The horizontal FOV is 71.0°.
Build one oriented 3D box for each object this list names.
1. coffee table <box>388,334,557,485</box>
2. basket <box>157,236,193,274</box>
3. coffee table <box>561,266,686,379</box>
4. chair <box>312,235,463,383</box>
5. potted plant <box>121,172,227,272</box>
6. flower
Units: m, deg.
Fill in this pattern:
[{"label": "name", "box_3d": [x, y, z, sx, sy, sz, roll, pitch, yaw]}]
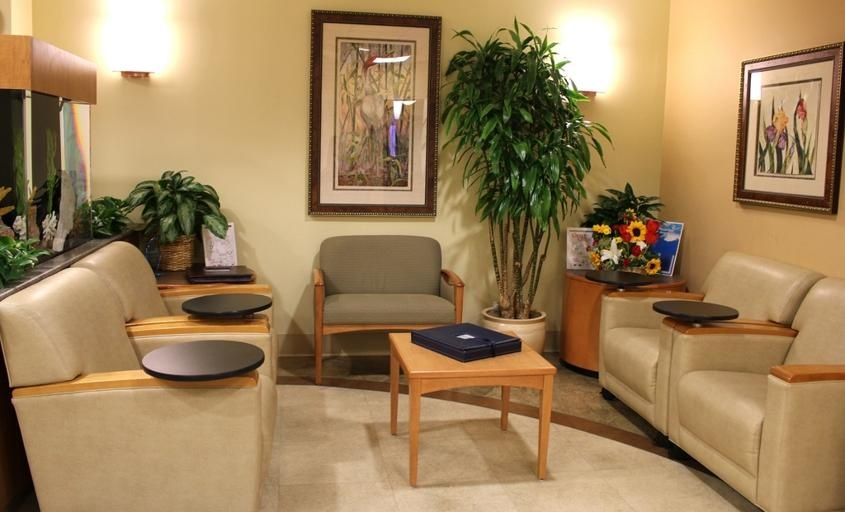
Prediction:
[{"label": "coffee table", "box_3d": [0.368, 0.906, 4.207, 1.063, 0.842, 0.982, -2, 9, -14]}, {"label": "basket", "box_3d": [-2.254, -0.011, 5.283, 0.353, 0.250, 0.327, -3, 1, -7]}, {"label": "coffee table", "box_3d": [1.785, 0.527, 5.539, 1.063, 0.866, 0.983, 1, 3, 1]}, {"label": "chair", "box_3d": [-0.341, 0.430, 5.428, 1.320, 1.091, 0.748, 0, 14, -15]}, {"label": "potted plant", "box_3d": [-2.207, -0.289, 5.263, 0.857, 0.765, 0.806, 11, 7, 41]}, {"label": "flower", "box_3d": [1.900, -0.239, 5.423, 0.506, 0.580, 0.425, 7, 24, -12]}]
